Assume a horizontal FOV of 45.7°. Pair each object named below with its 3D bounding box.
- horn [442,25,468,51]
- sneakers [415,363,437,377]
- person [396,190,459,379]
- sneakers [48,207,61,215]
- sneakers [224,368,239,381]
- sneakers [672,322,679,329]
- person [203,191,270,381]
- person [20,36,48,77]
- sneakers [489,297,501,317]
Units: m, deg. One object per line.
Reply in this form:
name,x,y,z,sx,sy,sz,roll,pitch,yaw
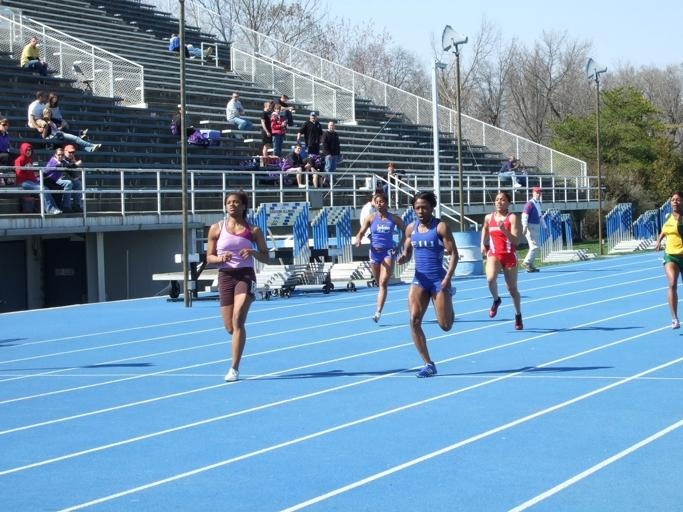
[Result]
horn,3.089,-6.156,22.395,0.602,0.810,2.343,-1,4,7
sneakers,1.029,1.374,9.754,0.287,0.163,0.112,-6,15,-30
person,1.055,0.344,9.750,0.631,2.235,0.851,-1,2,4
sneakers,-6.768,-1.042,19.076,0.287,0.159,0.106,-2,0,26
sneakers,-1.318,1.459,9.809,0.096,0.106,0.209,0,-2,10
sneakers,5.007,1.045,12.161,0.109,0.122,0.111,5,-7,-36
person,-1.250,0.383,9.717,0.709,2.291,0.507,-1,2,-8
person,-10.047,-6.438,26.375,0.777,1.441,0.642,-3,3,18
sneakers,2.672,0.917,14.147,0.109,0.388,0.140,16,-6,21
